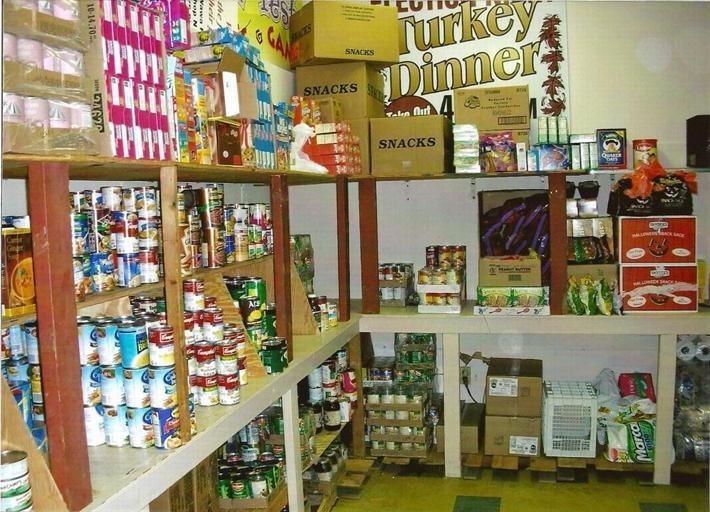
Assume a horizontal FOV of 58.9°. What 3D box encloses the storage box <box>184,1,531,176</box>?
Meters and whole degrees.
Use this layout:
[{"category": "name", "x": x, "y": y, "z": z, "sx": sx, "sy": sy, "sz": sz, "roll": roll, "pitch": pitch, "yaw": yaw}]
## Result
[{"category": "storage box", "x": 0.557, "y": -1.343, "z": 4.861, "sx": 2.093, "sy": 1.366, "sz": 1.084, "roll": -5, "pitch": 12, "yaw": -11}]
